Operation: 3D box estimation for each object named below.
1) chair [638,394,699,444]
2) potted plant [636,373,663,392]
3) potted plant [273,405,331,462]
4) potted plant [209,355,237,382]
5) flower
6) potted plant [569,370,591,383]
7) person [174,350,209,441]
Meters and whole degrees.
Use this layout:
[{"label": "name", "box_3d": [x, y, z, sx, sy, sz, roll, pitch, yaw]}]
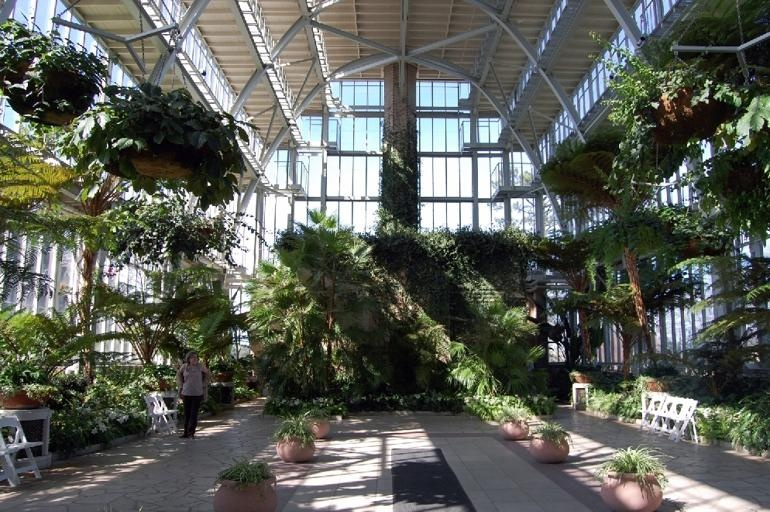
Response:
[{"label": "chair", "box_3d": [5.014, 2.861, 9.461, 0.244, 0.520, 0.804, 16, -14, -3]}, {"label": "potted plant", "box_3d": [5.519, 2.652, 11.227, 0.367, 0.259, 0.838, -7, -10, 11]}, {"label": "potted plant", "box_3d": [-1.174, 2.531, 7.682, 0.657, 0.586, 0.842, -3, -26, 1]}, {"label": "potted plant", "box_3d": [-4.262, 2.984, 14.231, 0.697, 0.655, 0.607, -3, -9, -14]}, {"label": "flower", "box_3d": [-4.352, 2.518, 9.134, 1.120, 0.828, 1.131, 5, 8, -6]}, {"label": "potted plant", "box_3d": [5.210, 3.216, 14.402, 0.337, 0.326, 1.228, -6, -10, 7]}, {"label": "person", "box_3d": [-3.231, 2.301, 9.022, 0.617, 1.400, 0.470, -13, -12, 43]}]
